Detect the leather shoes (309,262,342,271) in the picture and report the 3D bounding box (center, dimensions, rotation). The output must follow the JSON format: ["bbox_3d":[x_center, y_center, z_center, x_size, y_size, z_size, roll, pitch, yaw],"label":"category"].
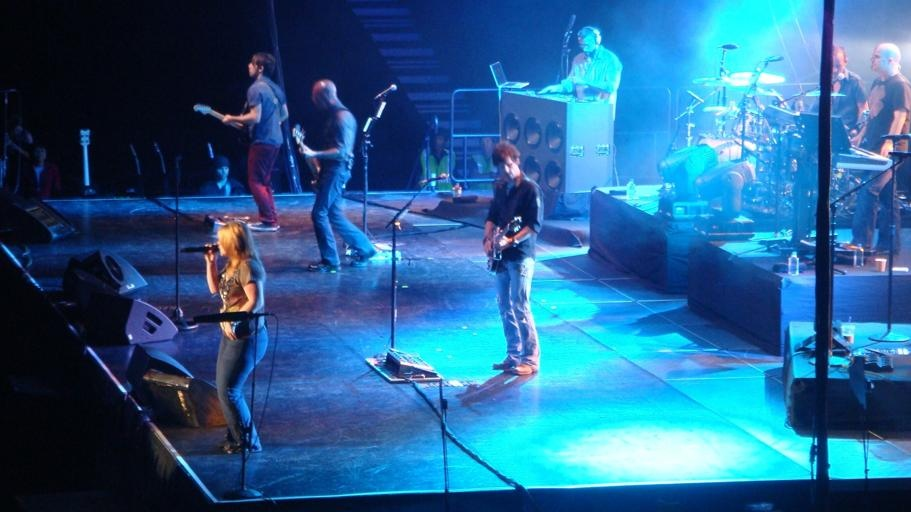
[{"bbox_3d":[-2.056,0.189,12.635,0.483,0.185,0.163,-2,8,0],"label":"leather shoes"}]

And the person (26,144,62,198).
[{"bbox_3d":[-8.808,-1.785,17.026,0.362,1.131,1.255,-6,13,-18],"label":"person"}]

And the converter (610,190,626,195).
[{"bbox_3d":[2.846,-1.114,13.832,0.261,0.072,0.222,1,12,9],"label":"converter"}]

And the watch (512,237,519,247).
[{"bbox_3d":[0.712,-0.169,9.287,0.073,0.094,0.044,0,13,3],"label":"watch"}]

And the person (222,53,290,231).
[{"bbox_3d":[-3.392,-1.960,13.980,0.879,3.229,0.961,-4,14,-11],"label":"person"}]

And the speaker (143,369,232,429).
[{"bbox_3d":[-2.834,1.551,8.575,0.886,0.546,0.658,13,22,40],"label":"speaker"}]

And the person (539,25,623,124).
[{"bbox_3d":[2.568,-3.736,15.559,1.288,1.535,0.879,0,13,5],"label":"person"}]

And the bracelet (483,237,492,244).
[{"bbox_3d":[0.399,-0.191,9.586,0.085,0.042,0.083,-10,5,16],"label":"bracelet"}]

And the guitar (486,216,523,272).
[{"bbox_3d":[0.564,-0.139,9.367,0.175,0.665,0.369,14,33,-19],"label":"guitar"}]

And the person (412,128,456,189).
[{"bbox_3d":[-0.450,-2.172,17.982,0.748,1.467,1.451,-2,13,-3],"label":"person"}]

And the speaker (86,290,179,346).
[{"bbox_3d":[-4.063,0.805,9.928,0.742,0.514,0.907,-11,13,-41],"label":"speaker"}]

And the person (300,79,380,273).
[{"bbox_3d":[-1.882,-1.251,12.426,1.075,3.007,1.208,-3,13,-6],"label":"person"}]

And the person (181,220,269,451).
[{"bbox_3d":[-2.232,0.825,8.251,0.599,2.316,1.137,-5,14,-15],"label":"person"}]

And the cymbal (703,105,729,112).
[{"bbox_3d":[4.772,-2.692,14.432,0.400,0.100,0.636,3,12,16],"label":"cymbal"}]

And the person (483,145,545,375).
[{"bbox_3d":[0.703,0.018,9.502,0.672,2.753,0.770,-2,13,-1],"label":"person"}]

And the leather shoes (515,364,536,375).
[{"bbox_3d":[0.854,1.357,9.495,0.211,0.072,0.126,3,2,-3],"label":"leather shoes"}]
